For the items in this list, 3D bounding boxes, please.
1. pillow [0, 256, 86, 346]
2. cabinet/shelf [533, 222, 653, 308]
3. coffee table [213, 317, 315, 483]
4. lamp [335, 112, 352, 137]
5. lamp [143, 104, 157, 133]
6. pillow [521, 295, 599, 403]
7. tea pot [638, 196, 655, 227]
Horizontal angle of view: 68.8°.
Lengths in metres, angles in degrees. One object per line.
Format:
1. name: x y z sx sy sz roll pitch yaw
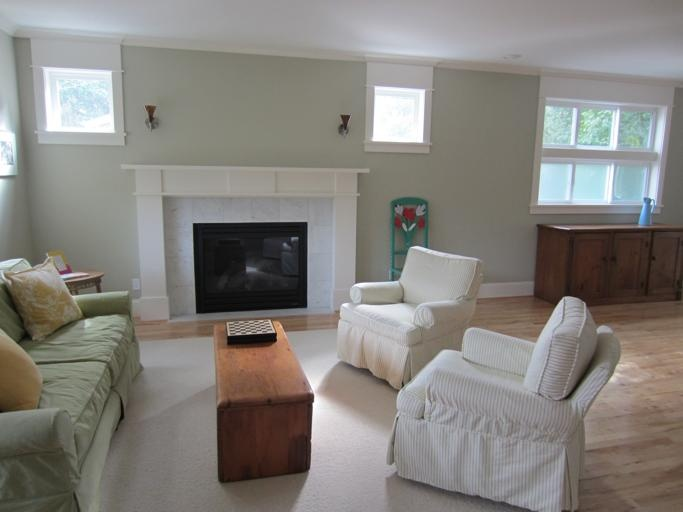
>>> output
1. pillow: -2.116 0.336 3.526 0.251 0.496 0.496 -3 16 11
2. cabinet/shelf: 3.063 0.101 6.027 1.256 0.896 0.421 -1 9 -6
3. coffee table: -0.479 1.071 3.131 0.535 0.431 1.235 0 14 -11
4. lamp: 0.033 -1.422 5.394 0.150 0.226 0.125 -1 9 -7
5. lamp: -1.883 -1.366 4.939 0.113 0.235 0.126 -3 10 -21
6. pillow: 1.310 0.573 3.019 0.257 0.408 0.681 7 18 28
7. tea pot: 3.891 -0.572 6.363 0.163 0.344 0.495 6 10 31
